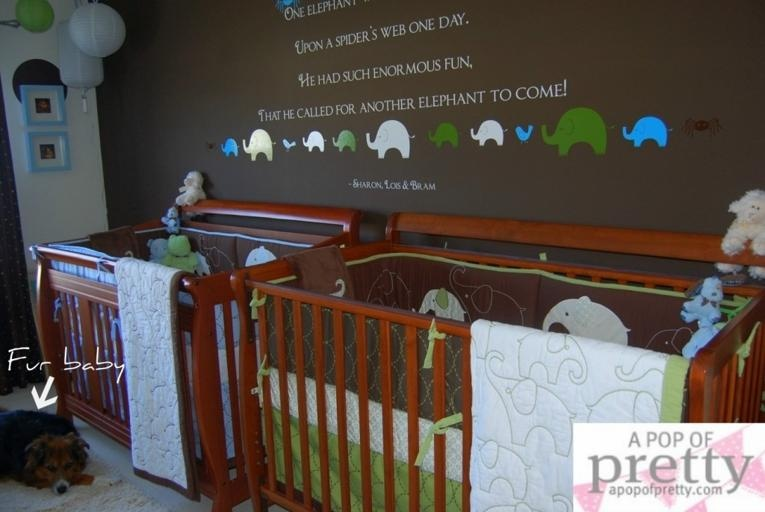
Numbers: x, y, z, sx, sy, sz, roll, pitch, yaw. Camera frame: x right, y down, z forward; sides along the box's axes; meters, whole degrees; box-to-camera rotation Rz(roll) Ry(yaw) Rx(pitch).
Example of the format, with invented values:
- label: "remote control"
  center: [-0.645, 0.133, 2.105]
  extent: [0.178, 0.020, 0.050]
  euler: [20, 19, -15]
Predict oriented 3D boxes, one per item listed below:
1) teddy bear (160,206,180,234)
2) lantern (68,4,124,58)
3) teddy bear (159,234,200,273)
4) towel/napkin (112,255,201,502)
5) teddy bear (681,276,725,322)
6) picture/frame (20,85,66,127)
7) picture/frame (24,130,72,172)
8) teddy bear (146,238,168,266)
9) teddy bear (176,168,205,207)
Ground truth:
- label: "teddy bear"
  center: [-1.573, -0.258, 4.114]
  extent: [0.164, 0.255, 0.106]
  euler: [-7, -23, -11]
- label: "lantern"
  center: [-1.998, -1.563, 3.835]
  extent: [0.336, 0.322, 0.203]
  euler: [3, 10, 16]
- label: "teddy bear"
  center: [-1.375, -0.012, 3.757]
  extent: [0.234, 0.286, 0.133]
  euler: [-2, -2, -5]
- label: "towel/napkin"
  center: [-1.095, 0.566, 2.644]
  extent: [0.447, 1.079, 0.100]
  euler: [7, 11, 37]
- label: "teddy bear"
  center: [1.245, 0.175, 2.158]
  extent: [0.132, 0.199, 0.131]
  euler: [16, 14, 29]
- label: "picture/frame"
  center: [-2.653, -1.169, 4.302]
  extent: [0.035, 0.294, 0.318]
  euler: [10, 14, 35]
- label: "picture/frame"
  center: [-2.650, -0.823, 4.361]
  extent: [0.040, 0.283, 0.307]
  euler: [1, 8, 33]
- label: "teddy bear"
  center: [-1.542, -0.024, 3.787]
  extent: [0.133, 0.146, 0.099]
  euler: [-17, -5, -8]
- label: "teddy bear"
  center: [-1.422, -0.501, 4.099]
  extent: [0.159, 0.260, 0.211]
  euler: [3, 12, 14]
